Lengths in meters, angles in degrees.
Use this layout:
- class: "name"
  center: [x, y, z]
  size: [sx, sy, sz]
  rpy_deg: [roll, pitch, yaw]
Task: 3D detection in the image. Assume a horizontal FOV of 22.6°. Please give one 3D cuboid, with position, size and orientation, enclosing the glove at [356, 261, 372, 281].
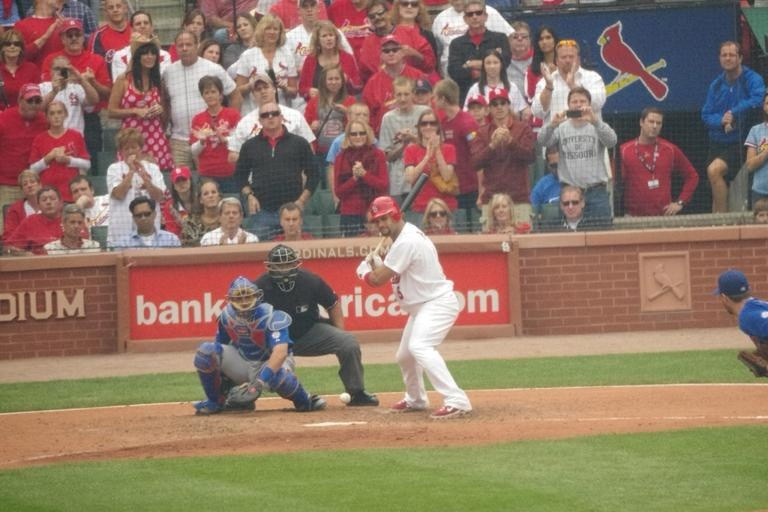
- class: "glove"
  center: [-0.320, 0.199, 30.730]
  size: [0.224, 0.123, 0.307]
  rpy_deg: [11, 14, 27]

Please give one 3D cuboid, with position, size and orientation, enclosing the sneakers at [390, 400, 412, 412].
- class: "sneakers"
  center: [0.253, 2.313, 30.822]
  size: [0.298, 0.134, 0.160]
  rpy_deg: [3, 1, 0]

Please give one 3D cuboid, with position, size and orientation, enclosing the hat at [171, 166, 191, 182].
- class: "hat"
  center: [-3.718, -1.482, 34.810]
  size: [0.343, 0.262, 0.226]
  rpy_deg: [-4, 1, -9]

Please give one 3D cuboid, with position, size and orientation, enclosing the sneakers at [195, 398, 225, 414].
- class: "sneakers"
  center: [-2.850, 2.309, 30.851]
  size: [0.390, 0.177, 0.219]
  rpy_deg: [4, -4, 6]

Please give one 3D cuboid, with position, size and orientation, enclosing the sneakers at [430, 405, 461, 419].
- class: "sneakers"
  center: [0.967, 2.359, 30.425]
  size: [0.500, 0.221, 0.188]
  rpy_deg: [3, -1, -5]

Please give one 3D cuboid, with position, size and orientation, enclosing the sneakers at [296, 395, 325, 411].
- class: "sneakers"
  center: [-1.190, 2.290, 31.000]
  size: [0.518, 0.229, 0.206]
  rpy_deg: [-6, 10, -2]

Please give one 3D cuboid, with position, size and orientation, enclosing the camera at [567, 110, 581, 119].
- class: "camera"
  center: [3.435, -2.561, 35.005]
  size: [0.185, 0.136, 0.044]
  rpy_deg: [4, 8, 13]

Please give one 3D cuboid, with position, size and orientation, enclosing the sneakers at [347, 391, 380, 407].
- class: "sneakers"
  center: [-0.362, 2.221, 31.204]
  size: [0.556, 0.246, 0.210]
  rpy_deg: [0, 0, -2]

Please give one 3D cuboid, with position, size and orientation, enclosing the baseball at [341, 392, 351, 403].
- class: "baseball"
  center: [-0.650, 2.209, 31.126]
  size: [0.153, 0.163, 0.217]
  rpy_deg: [-4, 1, -1]

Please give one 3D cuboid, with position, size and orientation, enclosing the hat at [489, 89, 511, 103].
- class: "hat"
  center: [2.054, -2.893, 35.090]
  size: [0.308, 0.269, 0.491]
  rpy_deg: [-3, -3, 0]
